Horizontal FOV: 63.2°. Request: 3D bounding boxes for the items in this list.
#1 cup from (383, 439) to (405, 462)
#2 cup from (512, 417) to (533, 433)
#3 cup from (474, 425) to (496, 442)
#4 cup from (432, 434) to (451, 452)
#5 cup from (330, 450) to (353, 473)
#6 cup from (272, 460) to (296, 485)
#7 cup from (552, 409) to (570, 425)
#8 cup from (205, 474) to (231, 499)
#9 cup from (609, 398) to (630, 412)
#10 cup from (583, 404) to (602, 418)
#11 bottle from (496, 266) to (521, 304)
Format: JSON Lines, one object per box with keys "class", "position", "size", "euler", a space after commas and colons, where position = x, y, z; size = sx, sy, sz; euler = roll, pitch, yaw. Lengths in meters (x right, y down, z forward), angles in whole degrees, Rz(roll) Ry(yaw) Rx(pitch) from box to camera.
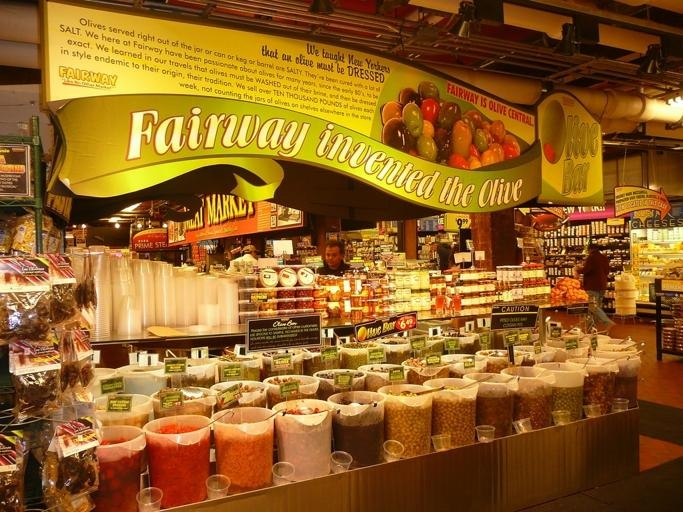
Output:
{"class": "cup", "position": [0.249, 0.943, 2.711], "size": [0.086, 0.059, 0.088], "euler": [2, 10, 0]}
{"class": "cup", "position": [1.003, 0.937, 3.069], "size": [0.128, 0.063, 0.057], "euler": [-2, 2, -28]}
{"class": "cup", "position": [0.763, 0.941, 2.947], "size": [0.110, 0.074, 0.078], "euler": [-2, 1, 0]}
{"class": "cup", "position": [0.504, 0.950, 2.829], "size": [0.076, 0.050, 0.077], "euler": [-11, -2, 0]}
{"class": "cup", "position": [-0.004, 0.970, 2.613], "size": [0.108, 0.068, 0.063], "euler": [-2, 1, -1]}
{"class": "cup", "position": [-0.269, 0.990, 2.523], "size": [0.091, 0.069, 0.081], "euler": [0, 0, 42]}
{"class": "cup", "position": [1.253, 0.924, 3.183], "size": [0.080, 0.057, 0.074], "euler": [0, -6, 0]}
{"class": "cup", "position": [-0.537, 0.997, 2.414], "size": [0.089, 0.069, 0.087], "euler": [2, 5, 0]}
{"class": "cup", "position": [1.710, 0.921, 3.425], "size": [0.082, 0.086, 0.079], "euler": [0, 2, 0]}
{"class": "cup", "position": [1.487, 0.923, 3.308], "size": [0.085, 0.055, 0.073], "euler": [1, -6, -21]}
{"class": "bottle", "position": [1.811, 0.290, 5.989], "size": [0.129, 0.377, 0.554], "euler": [-1, 2, 40]}
